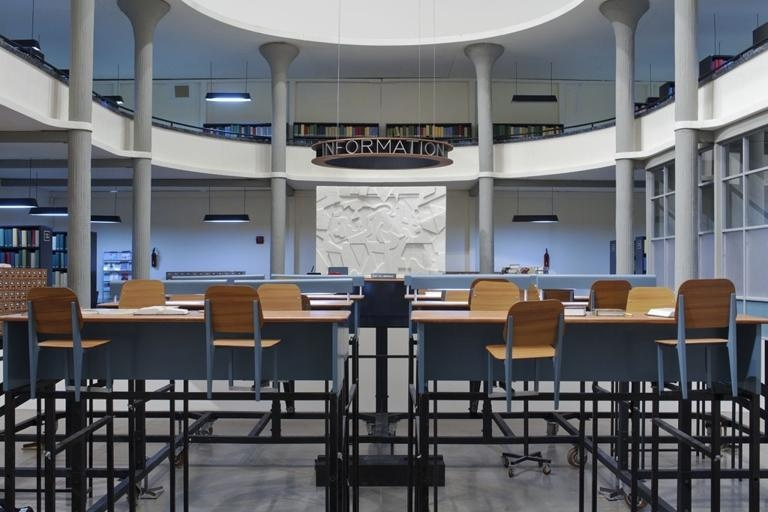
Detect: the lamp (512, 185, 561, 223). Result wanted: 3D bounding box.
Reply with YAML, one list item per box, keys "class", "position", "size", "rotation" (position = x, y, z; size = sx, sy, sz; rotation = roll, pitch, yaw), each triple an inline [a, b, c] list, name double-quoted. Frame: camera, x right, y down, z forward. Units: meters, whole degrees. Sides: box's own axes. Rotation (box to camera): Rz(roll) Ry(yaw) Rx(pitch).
- class: "lamp"
  position: [3.992, -1.351, 23.231]
  size: [1.155, 0.945, 0.439]
  rotation: [0, -3, 10]

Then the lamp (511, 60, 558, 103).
- class: "lamp"
  position: [3.764, -4.352, 21.919]
  size: [1.069, 0.939, 0.423]
  rotation: [2, 7, 14]

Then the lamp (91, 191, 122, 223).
- class: "lamp"
  position: [-7.487, -1.337, 23.354]
  size: [0.673, 0.991, 2.753]
  rotation: [-1, -1, -18]

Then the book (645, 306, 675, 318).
- class: "book"
  position: [3.866, 0.807, 12.203]
  size: [0.365, 0.076, 0.424]
  rotation: [-1, -1, 23]

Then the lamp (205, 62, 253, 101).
- class: "lamp"
  position: [-3.818, -4.179, 21.301]
  size: [1.066, 0.948, 0.390]
  rotation: [0, -12, -6]

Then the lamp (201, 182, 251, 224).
- class: "lamp"
  position: [-4.131, -1.327, 22.784]
  size: [1.179, 0.430, 0.906]
  rotation: [0, -35, -12]

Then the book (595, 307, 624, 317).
- class: "book"
  position: [3.092, 0.799, 12.041]
  size: [0.416, 0.103, 0.159]
  rotation: [-1, -1, 6]
